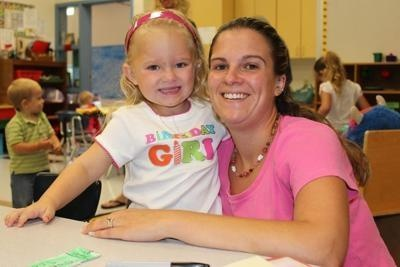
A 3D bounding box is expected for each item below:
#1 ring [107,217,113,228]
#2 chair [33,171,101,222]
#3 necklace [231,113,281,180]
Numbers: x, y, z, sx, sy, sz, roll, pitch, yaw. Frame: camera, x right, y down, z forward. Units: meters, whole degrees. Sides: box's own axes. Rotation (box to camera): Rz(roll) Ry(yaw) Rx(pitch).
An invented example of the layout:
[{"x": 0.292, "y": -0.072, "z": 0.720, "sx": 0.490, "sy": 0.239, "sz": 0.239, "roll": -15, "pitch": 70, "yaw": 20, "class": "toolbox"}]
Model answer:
[{"x": -0.382, "y": 0.382, "z": 1.478, "sx": 0.031, "sy": 0.027, "sz": 0.047, "roll": -2, "pitch": 54, "yaw": -5, "class": "ring"}, {"x": -0.849, "y": 0.439, "z": 2.523, "sx": 0.354, "sy": 0.375, "sz": 0.590, "roll": 3, "pitch": -2, "yaw": 12, "class": "chair"}, {"x": 0.330, "y": 0.080, "z": 1.784, "sx": 0.036, "sy": 0.334, "sz": 0.249, "roll": 16, "pitch": 8, "yaw": -18, "class": "necklace"}]
